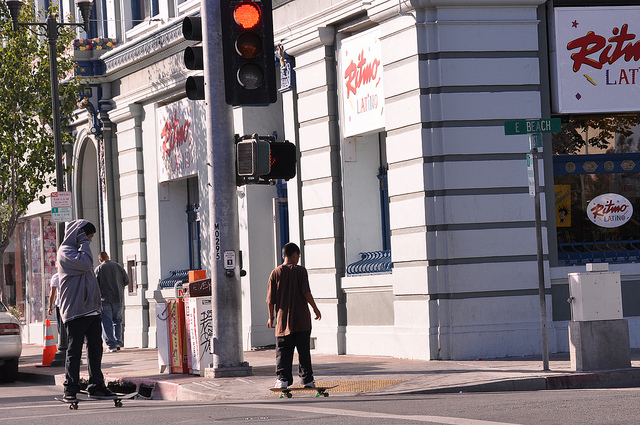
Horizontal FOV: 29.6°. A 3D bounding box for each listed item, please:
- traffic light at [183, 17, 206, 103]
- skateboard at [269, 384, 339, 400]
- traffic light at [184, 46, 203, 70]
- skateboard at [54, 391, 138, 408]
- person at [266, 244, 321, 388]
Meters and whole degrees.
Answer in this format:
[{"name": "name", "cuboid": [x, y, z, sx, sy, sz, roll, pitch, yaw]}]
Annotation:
[{"name": "traffic light", "cuboid": [-2.426, -2.992, 23.382, 0.392, 1.582, 0.391, -3, -6, -5]}, {"name": "skateboard", "cuboid": [-0.275, 3.168, 21.667, 1.046, 0.156, 0.389, 0, -5, -13]}, {"name": "traffic light", "cuboid": [-2.453, -2.990, 23.391, 0.419, 0.419, 0.381, 0, 10, -31]}, {"name": "skateboard", "cuboid": [-4.097, 3.393, 22.166, 1.291, 0.234, 0.306, -1, -1, -10]}, {"name": "person", "cuboid": [-0.520, 1.839, 21.918, 0.815, 2.576, 0.436, -4, -6, 3]}]
